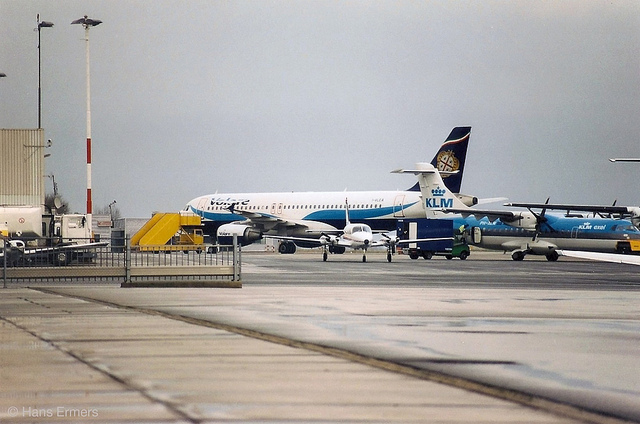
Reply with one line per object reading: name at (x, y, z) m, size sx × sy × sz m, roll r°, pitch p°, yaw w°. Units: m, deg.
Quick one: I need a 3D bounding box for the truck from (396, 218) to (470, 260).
truck at (6.656, 1.604, 55.974) m, size 3.988 × 2.118 × 1.998 m, roll 1°, pitch -2°, yaw -3°

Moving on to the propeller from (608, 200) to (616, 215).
propeller at (13.425, -0.057, 44.221) m, size 0.070 × 0.925 × 0.099 m, roll 35°, pitch -12°, yaw -22°

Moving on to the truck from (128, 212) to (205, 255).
truck at (-9.429, 1.397, 61.038) m, size 6.200 × 2.729 × 3.417 m, roll -1°, pitch 3°, yaw -22°
